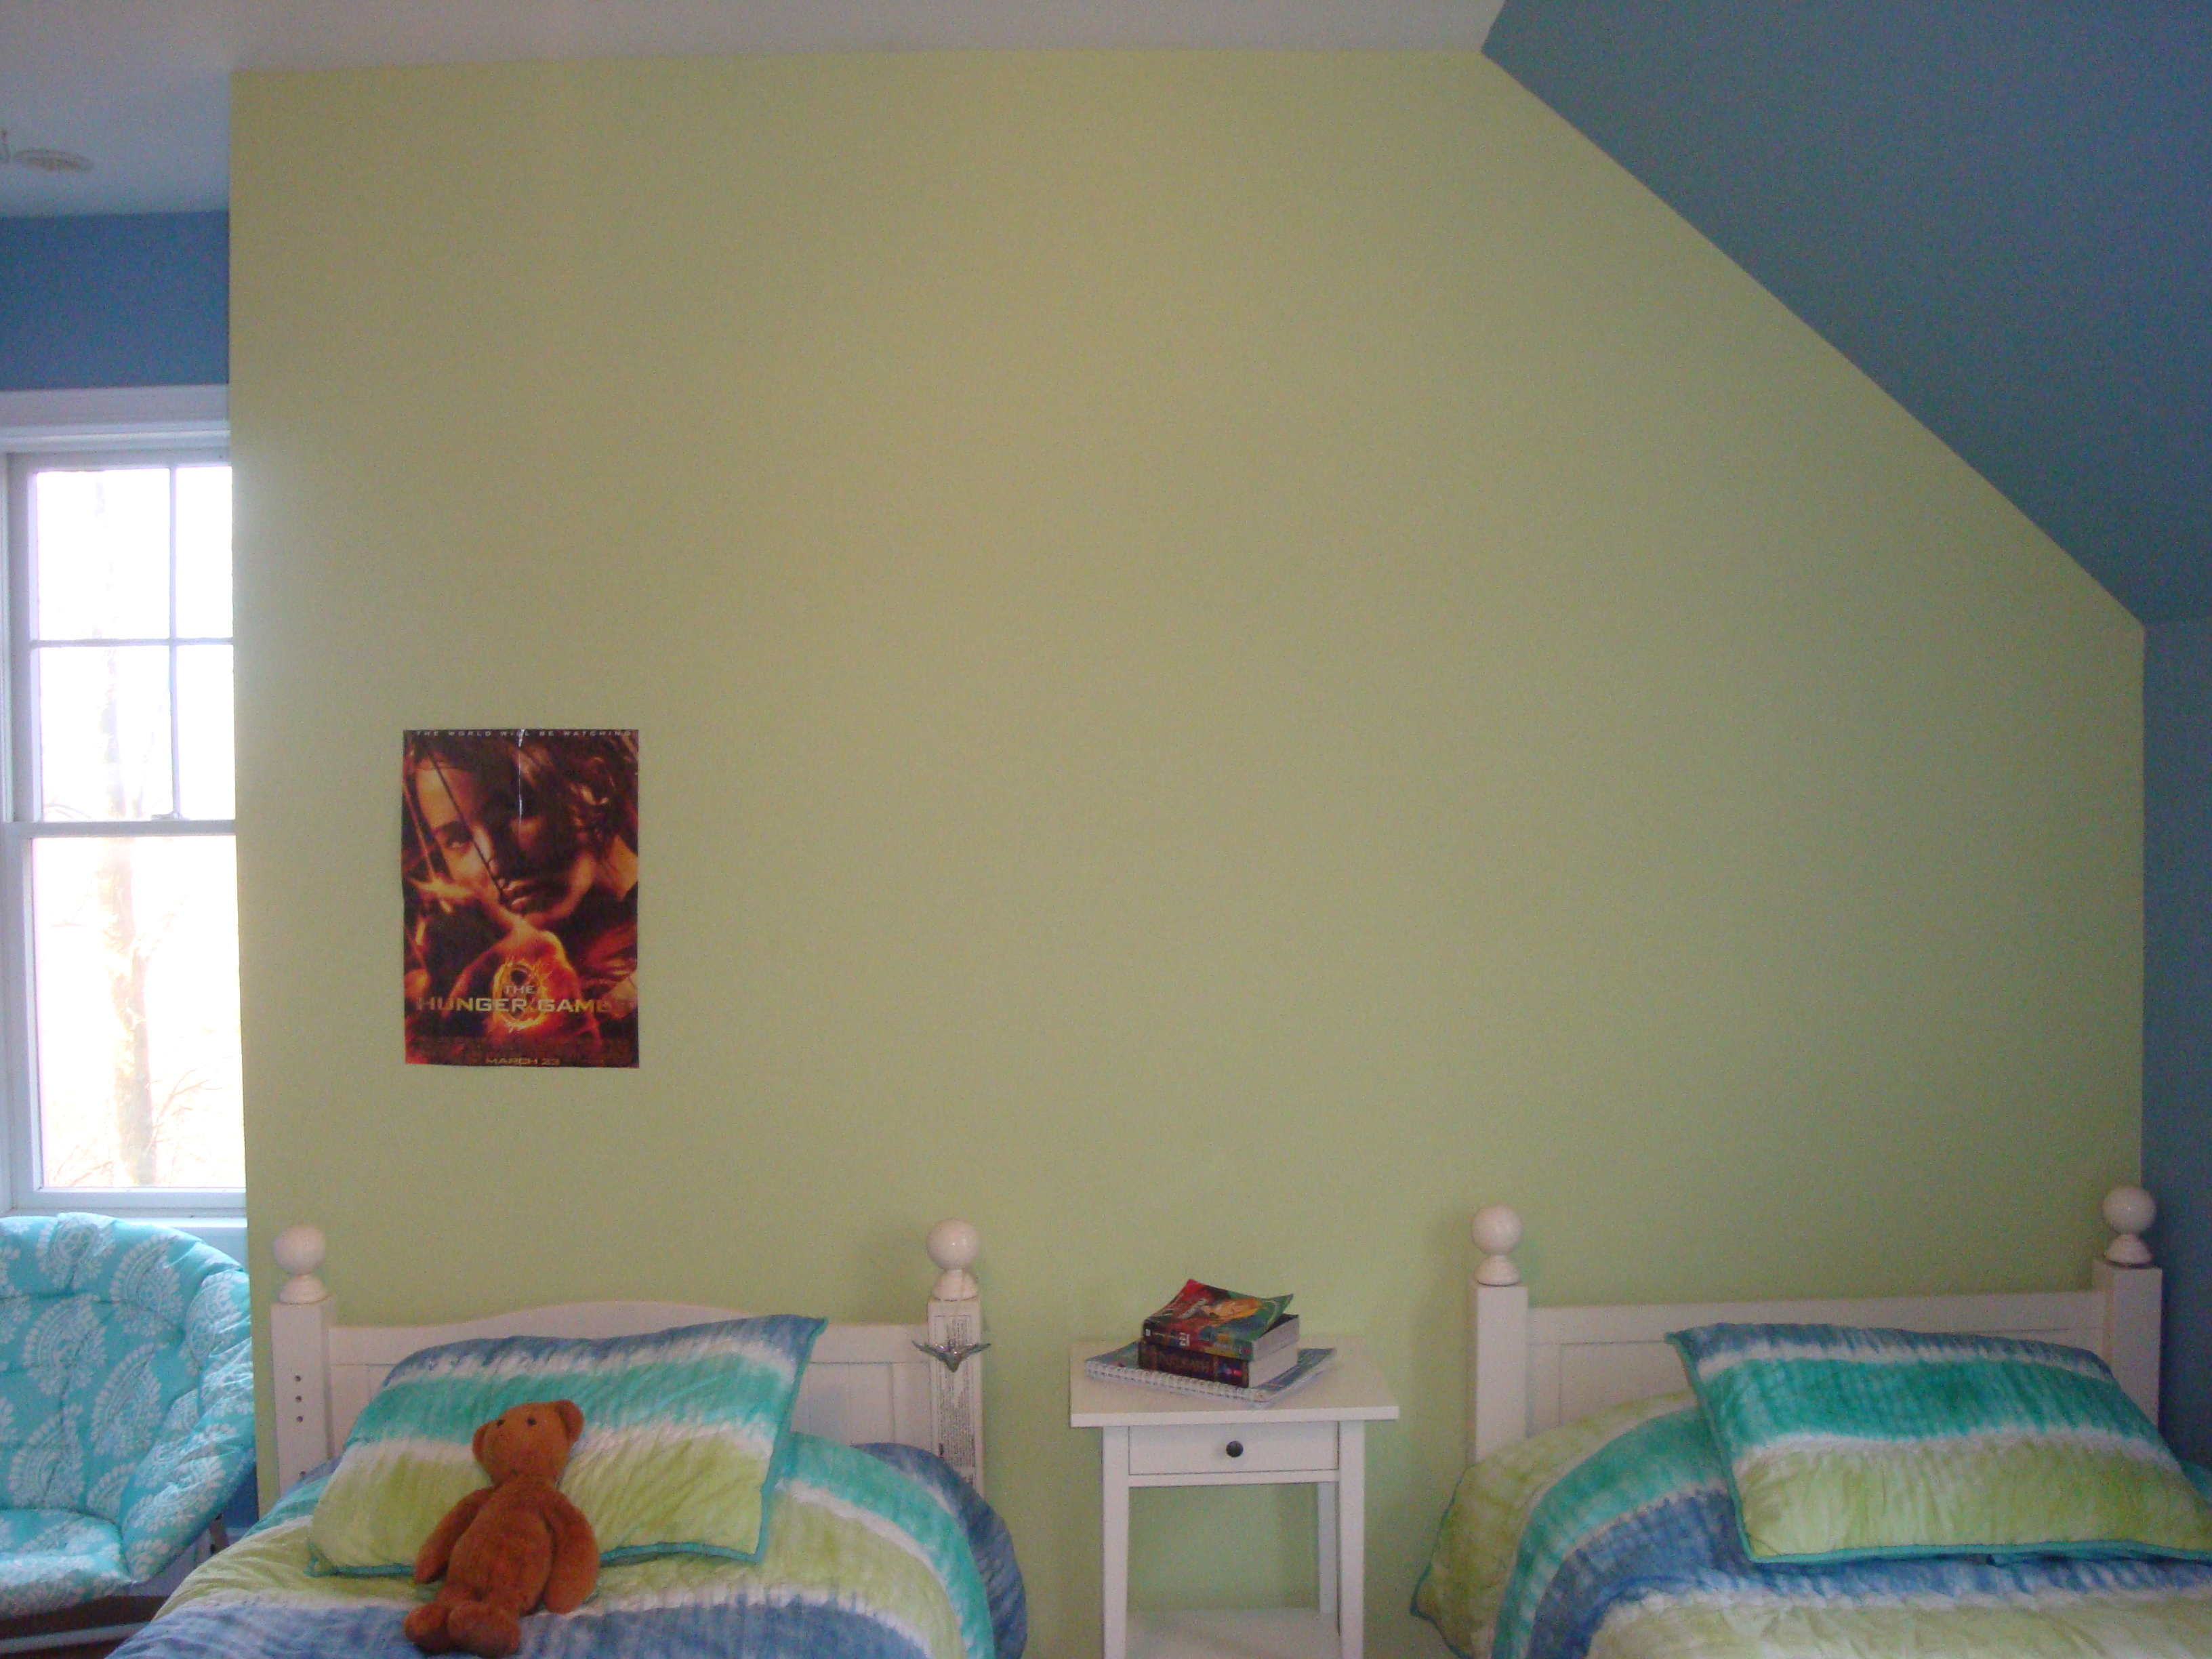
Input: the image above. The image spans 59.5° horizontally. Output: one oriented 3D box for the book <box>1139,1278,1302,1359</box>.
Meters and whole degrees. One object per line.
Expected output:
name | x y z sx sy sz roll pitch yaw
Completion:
book | 0.208 0.908 3.596 0.148 0.056 0.154 3 4 34
